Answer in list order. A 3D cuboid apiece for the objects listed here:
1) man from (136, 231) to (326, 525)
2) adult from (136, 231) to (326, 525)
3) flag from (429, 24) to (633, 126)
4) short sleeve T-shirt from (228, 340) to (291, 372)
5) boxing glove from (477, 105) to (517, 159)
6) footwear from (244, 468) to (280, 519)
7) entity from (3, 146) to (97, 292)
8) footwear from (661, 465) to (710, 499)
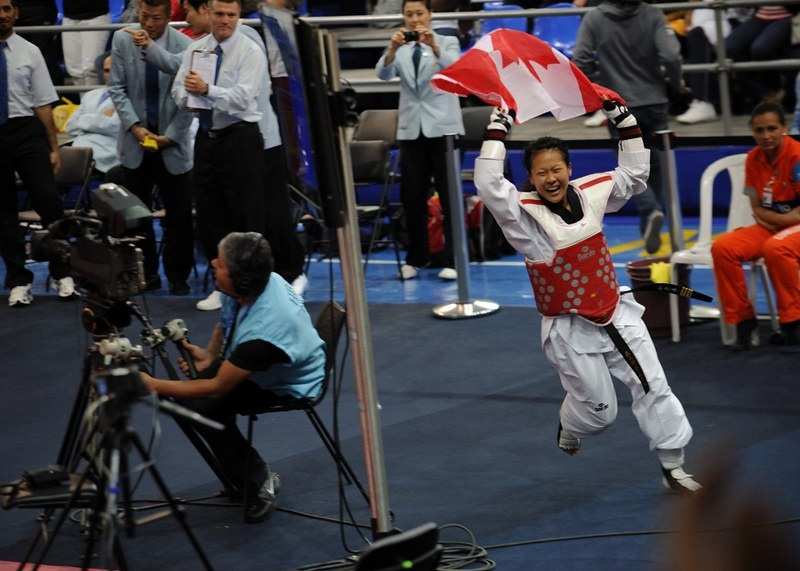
[{"bbox_3d":[-0.792,0.441,4.664,0.882,1.447,0.555,-14,21,-16],"label":"man"},{"bbox_3d":[-0.793,0.441,4.663,0.884,1.447,0.550,-15,21,-16],"label":"adult"},{"bbox_3d":[0.683,-1.049,5.075,0.952,0.329,0.755,10,0,17],"label":"flag"},{"bbox_3d":[-0.698,0.339,4.498,0.266,0.183,0.128,-18,21,-33],"label":"short sleeve T-shirt"},{"bbox_3d":[0.478,-0.758,4.594,0.156,0.248,0.125,21,9,19],"label":"boxing glove"},{"bbox_3d":[-0.702,1.073,4.736,0.119,0.253,0.121,10,-25,8],"label":"footwear"},{"bbox_3d":[-3.359,-0.792,9.033,0.926,0.977,0.788,-21,20,-24],"label":"entity"},{"bbox_3d":[1.431,0.978,4.638,0.098,0.086,0.268,-10,9,-34],"label":"footwear"}]
